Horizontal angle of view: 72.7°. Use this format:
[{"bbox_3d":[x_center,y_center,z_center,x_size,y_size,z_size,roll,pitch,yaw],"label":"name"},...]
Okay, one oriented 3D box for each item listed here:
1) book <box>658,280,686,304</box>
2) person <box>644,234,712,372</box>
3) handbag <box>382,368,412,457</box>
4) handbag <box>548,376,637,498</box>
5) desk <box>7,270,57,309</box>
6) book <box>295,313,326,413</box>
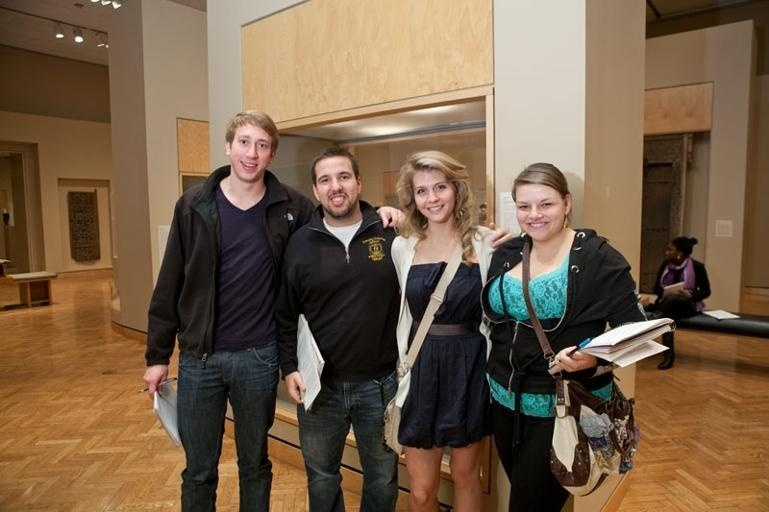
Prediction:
[{"bbox_3d":[4.122,0.532,7.380,0.317,0.317,0.078,-12,11,-2],"label":"book"},{"bbox_3d":[4.247,0.585,7.640,1.004,1.841,0.724,-1,1,-23],"label":"person"},{"bbox_3d":[0.097,1.156,3.934,0.185,0.535,0.401,9,0,0],"label":"handbag"},{"bbox_3d":[1.435,1.193,3.525,0.648,0.750,0.194,-2,6,-14],"label":"handbag"},{"bbox_3d":[-7.740,0.716,11.532,0.962,0.732,0.878,1,-2,-41],"label":"desk"},{"bbox_3d":[-0.556,0.825,3.988,0.059,0.523,0.569,-1,42,-23],"label":"book"}]
